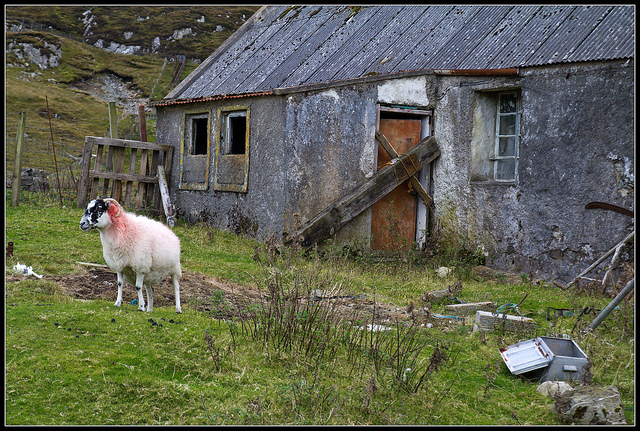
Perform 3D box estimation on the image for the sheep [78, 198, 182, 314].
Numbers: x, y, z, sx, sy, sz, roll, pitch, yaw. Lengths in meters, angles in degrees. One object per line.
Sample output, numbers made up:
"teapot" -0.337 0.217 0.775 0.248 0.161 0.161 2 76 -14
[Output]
"sheep" -3.378 0.568 13.056 0.941 2.387 1.428 2 2 28
